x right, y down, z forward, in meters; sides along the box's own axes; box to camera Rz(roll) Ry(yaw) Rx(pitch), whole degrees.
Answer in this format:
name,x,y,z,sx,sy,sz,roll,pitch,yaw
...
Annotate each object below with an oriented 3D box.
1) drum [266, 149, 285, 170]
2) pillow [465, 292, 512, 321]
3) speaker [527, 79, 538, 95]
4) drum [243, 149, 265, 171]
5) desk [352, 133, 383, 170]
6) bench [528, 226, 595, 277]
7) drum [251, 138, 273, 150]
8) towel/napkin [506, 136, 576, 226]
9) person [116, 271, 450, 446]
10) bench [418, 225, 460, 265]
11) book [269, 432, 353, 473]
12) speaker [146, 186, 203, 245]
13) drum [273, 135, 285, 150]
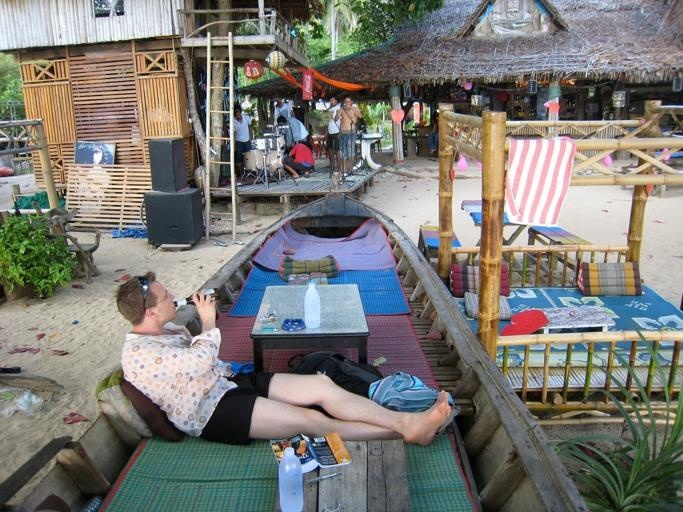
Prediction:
name,x,y,z,sx,sy,sz,roll,pitch,yaw
drum,-1.935,-2.738,13.614,0.377,0.523,0.475,-1,19,-7
pillow,1.819,0.679,6.190,0.521,0.182,0.523,1,30,2
speaker,7.809,-6.794,19.198,0.494,0.752,0.195,2,10,9
drum,-2.481,-2.682,13.544,0.790,0.638,0.238,14,24,40
desk,0.916,-3.786,16.946,1.436,1.680,1.478,1,14,4
bench,3.750,0.068,8.397,0.862,0.988,1.001,3,12,0
drum,-2.195,-2.875,12.827,0.464,0.316,0.488,-1,22,0
towel/napkin,1.857,-0.676,4.434,0.642,0.852,0.272,2,22,5
person,-0.410,0.760,3.624,2.282,1.280,1.041,1,8,-2
bench,1.614,-0.416,7.768,0.472,0.372,1.501,2,26,3
book,-0.152,1.293,3.155,0.353,0.053,0.287,1,20,-16
speaker,-3.465,-0.806,9.907,0.965,1.261,0.832,5,14,6
drum,-1.819,-3.248,13.689,0.351,0.273,0.360,-1,20,0
